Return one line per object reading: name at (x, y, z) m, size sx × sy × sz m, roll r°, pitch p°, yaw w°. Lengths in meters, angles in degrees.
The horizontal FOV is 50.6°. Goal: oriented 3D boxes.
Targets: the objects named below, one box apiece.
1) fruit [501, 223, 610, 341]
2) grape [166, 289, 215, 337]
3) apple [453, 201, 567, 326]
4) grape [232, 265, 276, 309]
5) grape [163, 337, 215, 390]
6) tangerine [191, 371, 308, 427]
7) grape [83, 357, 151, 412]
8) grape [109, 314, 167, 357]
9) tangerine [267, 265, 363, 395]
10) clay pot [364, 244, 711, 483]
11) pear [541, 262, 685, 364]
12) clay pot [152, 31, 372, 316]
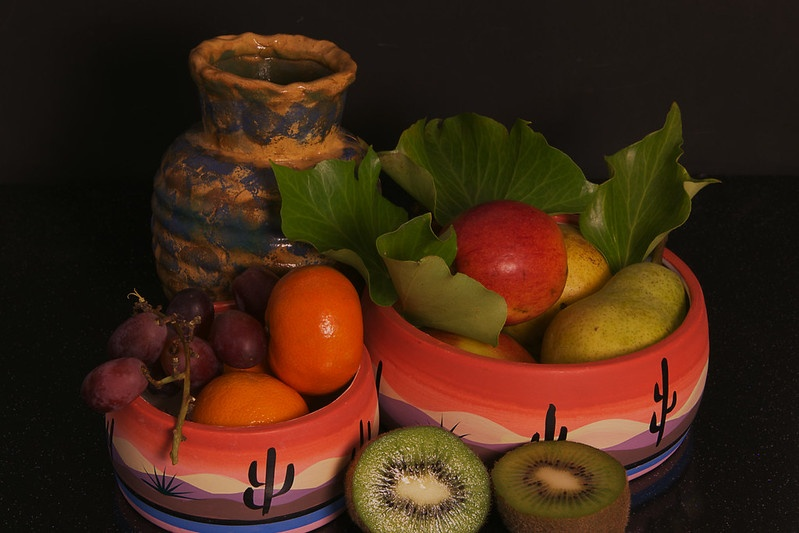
fruit at (0.208, 0.030, 1.030) m, size 0.126 × 0.153 × 0.134 m, roll -5°, pitch -9°, yaw 29°
grape at (-0.234, 0.048, 0.958) m, size 0.055 × 0.068 × 0.051 m, roll -3°, pitch 2°, yaw -4°
apple at (0.128, -0.011, 1.003) m, size 0.126 × 0.139 × 0.126 m, roll -22°, pitch 34°, yaw -22°
grape at (-0.172, 0.026, 0.992) m, size 0.047 × 0.046 × 0.047 m, roll -1°, pitch -10°, yaw 37°
grape at (-0.226, 0.107, 0.921) m, size 0.060 × 0.046 × 0.045 m, roll 8°, pitch -5°, yaw -21°
tangerine at (-0.168, 0.145, 0.895) m, size 0.083 × 0.064 × 0.062 m, roll 1°, pitch 46°, yaw 0°
grape at (-0.301, 0.121, 0.890) m, size 0.064 × 0.050 × 0.046 m, roll -22°, pitch 36°, yaw -5°
grape at (-0.276, 0.079, 0.907) m, size 0.042 × 0.054 × 0.041 m, roll 32°, pitch 32°, yaw -50°
tangerine at (-0.101, 0.075, 0.982) m, size 0.128 × 0.167 × 0.142 m, roll 1°, pitch 15°, yaw -1°
clay pot at (0.179, 0.115, 1.124) m, size 0.437 × 0.169 × 0.460 m, roll 0°, pitch 14°, yaw 0°
pear at (0.250, 0.056, 0.950) m, size 0.163 × 0.080 × 0.090 m, roll -30°, pitch -20°, yaw 1°
clay pot at (-0.212, -0.074, 1.175) m, size 0.279 × 0.367 × 0.274 m, roll 3°, pitch 11°, yaw -1°
